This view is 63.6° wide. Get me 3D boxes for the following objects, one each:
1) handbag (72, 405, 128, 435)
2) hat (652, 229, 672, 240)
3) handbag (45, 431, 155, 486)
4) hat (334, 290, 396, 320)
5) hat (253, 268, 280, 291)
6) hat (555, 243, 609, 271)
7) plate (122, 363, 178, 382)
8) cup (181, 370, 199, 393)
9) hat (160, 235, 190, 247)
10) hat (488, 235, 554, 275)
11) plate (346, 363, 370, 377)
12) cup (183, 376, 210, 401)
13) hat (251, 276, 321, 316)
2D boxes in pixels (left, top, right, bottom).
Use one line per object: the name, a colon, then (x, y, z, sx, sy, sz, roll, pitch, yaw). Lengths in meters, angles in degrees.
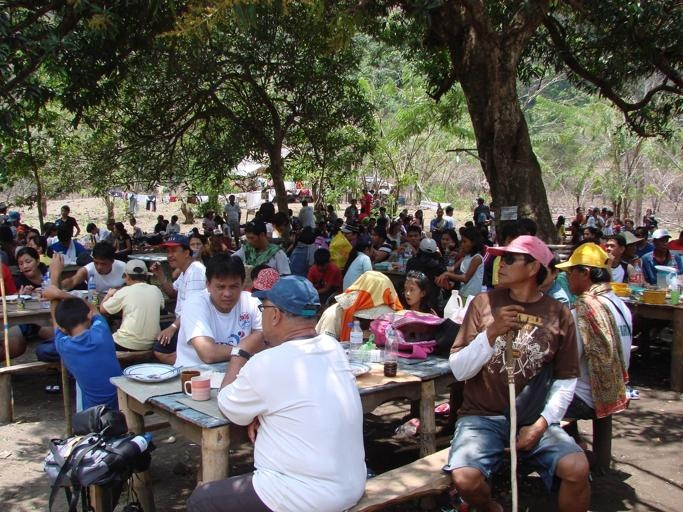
handbag: (-1.786, 1.224, 4.071, 0.260, 0.179, 0.256, 4, -3, -15)
hat: (4.941, -0.363, 8.549, 0.213, 0.161, 0.286, -4, -21, 8)
handbag: (-1.720, 1.431, 3.984, 0.476, 0.205, 0.493, 4, 5, 43)
hat: (0.268, 0.535, 6.081, 0.386, 0.141, 0.380, 2, 7, -26)
hat: (-0.808, 0.241, 5.904, 0.264, 0.163, 0.367, 4, 9, -6)
hat: (2.326, -0.005, 5.322, 0.420, 0.229, 0.270, 5, 2, 32)
plate: (-1.629, 1.004, 4.740, 0.423, 0.136, 0.355, -6, -2, 25)
cup: (-1.268, 1.026, 4.538, 0.178, 0.161, 0.110, -7, 13, -34)
hat: (-2.108, -0.198, 7.160, 0.199, 0.133, 0.277, -7, -11, 44)
hat: (1.422, -0.006, 4.370, 0.421, 0.166, 0.269, 12, 0, 2)
plate: (0.167, 0.968, 4.773, 0.176, 0.106, 0.434, -5, -2, 2)
cup: (-1.143, 1.030, 4.257, 0.216, 0.145, 0.138, -3, -4, 19)
hat: (-0.365, 0.283, 3.779, 0.349, 0.180, 0.239, 28, 23, 24)
